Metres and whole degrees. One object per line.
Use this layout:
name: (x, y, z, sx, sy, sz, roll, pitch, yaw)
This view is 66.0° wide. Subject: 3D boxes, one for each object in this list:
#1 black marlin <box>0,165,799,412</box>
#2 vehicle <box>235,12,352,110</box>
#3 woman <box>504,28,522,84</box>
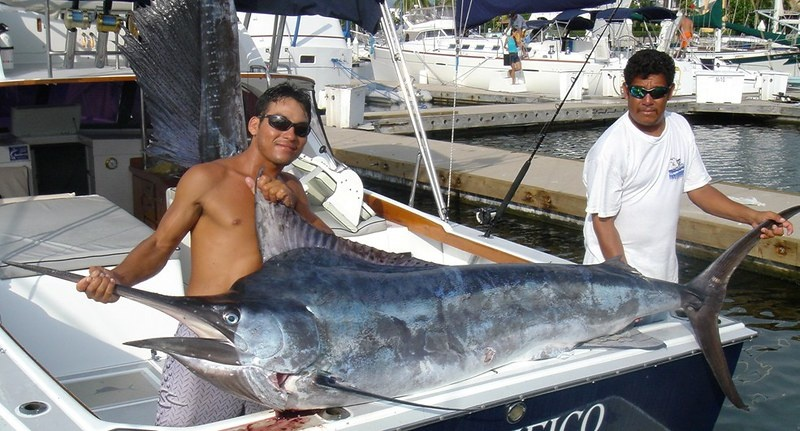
black marlin: (0.543, 0.420, 4.224, 5.200, 1.738, 1.465, 0, -2, -13)
vehicle: (-3.205, -4.177, 16.090, 4.075, 1.581, 2.350, -13, 15, -35)
woman: (3.912, -5.432, 20.925, 0.610, 1.780, 0.593, 15, 28, 39)
